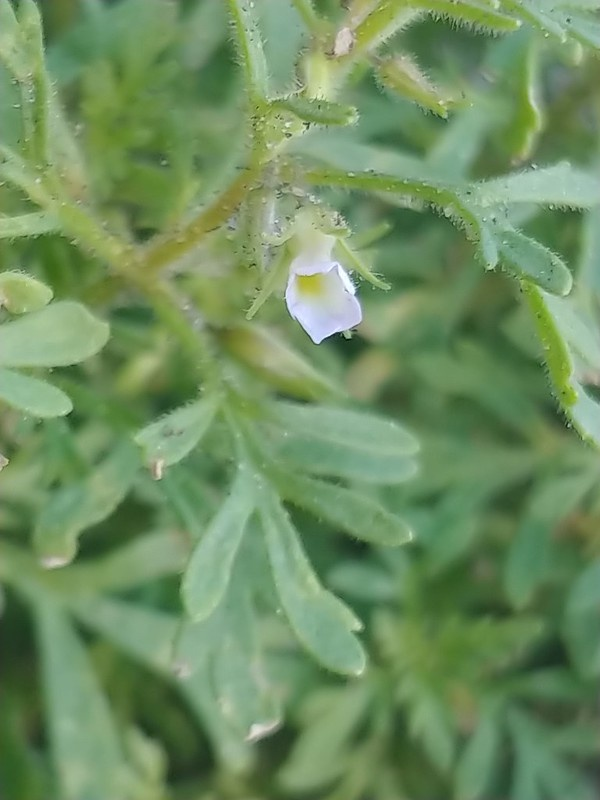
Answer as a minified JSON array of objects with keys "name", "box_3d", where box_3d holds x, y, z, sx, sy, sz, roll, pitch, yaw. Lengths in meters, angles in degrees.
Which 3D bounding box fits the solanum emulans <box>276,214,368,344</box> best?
[{"name":"solanum emulans","box_3d":[0.010,-0.070,0.494,0.044,0.082,0.037,-16,37,5]}]
